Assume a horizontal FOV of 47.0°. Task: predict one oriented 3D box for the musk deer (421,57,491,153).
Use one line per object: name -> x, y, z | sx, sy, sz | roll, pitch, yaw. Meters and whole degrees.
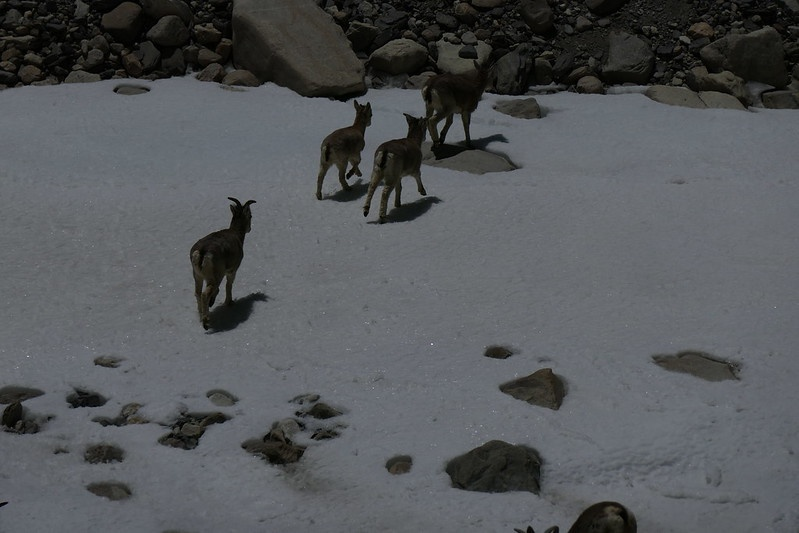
musk deer -> 1.304, -3.606, 20.269 | 0.784, 2.694, 1.826 | 13, 109, 34
